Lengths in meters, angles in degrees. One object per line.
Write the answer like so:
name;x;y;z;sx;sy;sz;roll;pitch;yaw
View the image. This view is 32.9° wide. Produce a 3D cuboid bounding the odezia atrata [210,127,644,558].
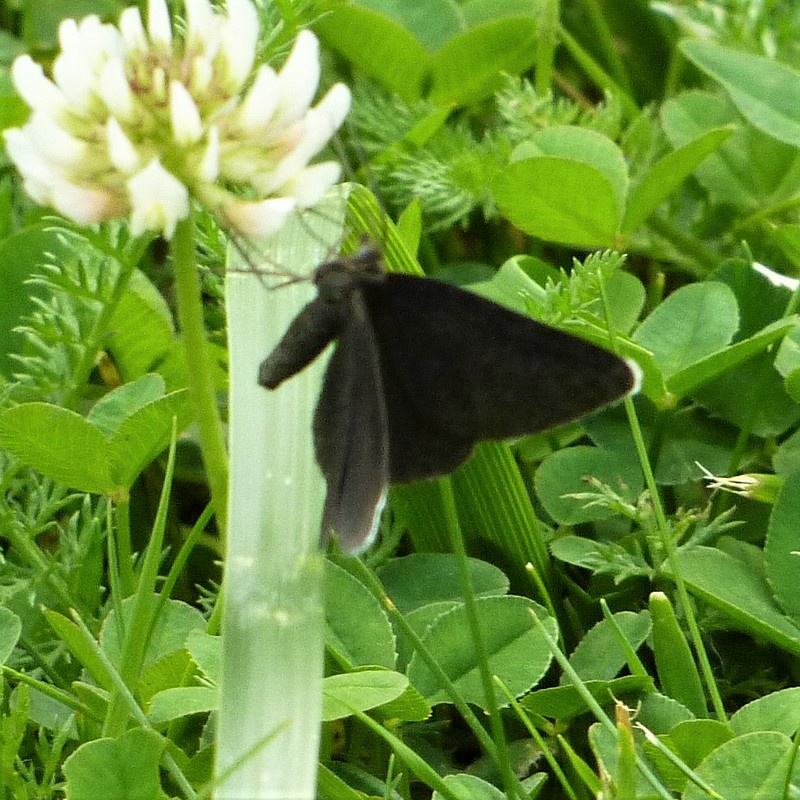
odezia atrata;0.046;0.008;1.013;0.224;0.196;0.304;-59;17;-16
